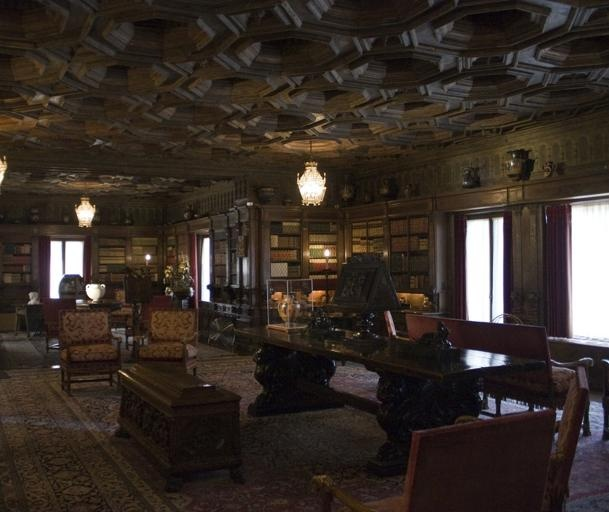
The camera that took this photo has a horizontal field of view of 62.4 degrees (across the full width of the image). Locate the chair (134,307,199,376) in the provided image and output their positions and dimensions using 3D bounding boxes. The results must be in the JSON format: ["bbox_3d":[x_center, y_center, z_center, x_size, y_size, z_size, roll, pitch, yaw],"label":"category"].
[{"bbox_3d":[-1.965,1.271,7.185,0.838,0.946,0.773,1,1,-10],"label":"chair"}]

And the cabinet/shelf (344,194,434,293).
[{"bbox_3d":[1.596,-0.120,9.870,2.244,1.767,0.505,-4,2,-27],"label":"cabinet/shelf"}]

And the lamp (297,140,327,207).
[{"bbox_3d":[0.110,-1.429,8.564,0.528,0.991,0.504,2,8,21],"label":"lamp"}]

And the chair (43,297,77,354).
[{"bbox_3d":[-4.828,1.440,9.878,0.599,0.793,0.574,14,-23,-21],"label":"chair"}]
